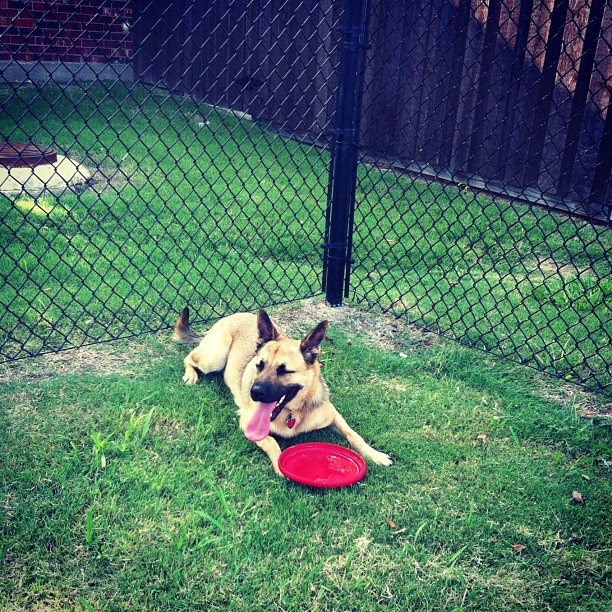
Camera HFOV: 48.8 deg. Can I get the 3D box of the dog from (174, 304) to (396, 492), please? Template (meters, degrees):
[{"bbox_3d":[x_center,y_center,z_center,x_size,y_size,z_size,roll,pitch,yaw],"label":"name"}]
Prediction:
[{"bbox_3d":[-0.157,0.362,3.798,0.675,0.645,1.570,-7,21,-34],"label":"dog"}]

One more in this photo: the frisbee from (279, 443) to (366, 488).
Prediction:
[{"bbox_3d":[0.082,0.801,3.353,0.430,0.097,0.336,5,18,-2],"label":"frisbee"}]
